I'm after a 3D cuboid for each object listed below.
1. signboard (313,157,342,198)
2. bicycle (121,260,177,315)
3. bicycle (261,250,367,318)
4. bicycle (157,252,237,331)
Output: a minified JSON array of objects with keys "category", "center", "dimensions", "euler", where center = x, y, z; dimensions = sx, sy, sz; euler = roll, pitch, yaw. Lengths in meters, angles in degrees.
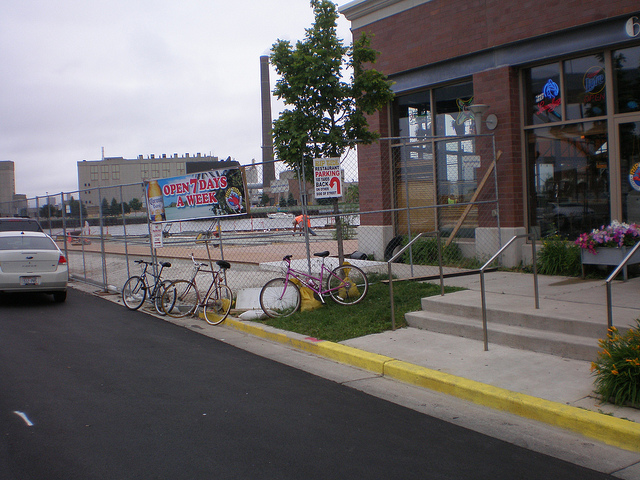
[{"category":"signboard","center":[0.164,-1.284,11.853],"dimensions":[0.549,0.792,0.306],"euler":[-3,12,0]},{"category":"bicycle","center":[-3.822,1.062,13.087],"dimensions":[1.852,1.186,0.917],"euler":[2,-8,35]},{"category":"bicycle","center":[-0.152,0.883,11.714],"dimensions":[2.198,1.385,1.125],"euler":[-10,-31,-5]},{"category":"bicycle","center":[-2.506,1.126,12.438],"dimensions":[1.899,1.414,0.510],"euler":[3,-15,29]}]
